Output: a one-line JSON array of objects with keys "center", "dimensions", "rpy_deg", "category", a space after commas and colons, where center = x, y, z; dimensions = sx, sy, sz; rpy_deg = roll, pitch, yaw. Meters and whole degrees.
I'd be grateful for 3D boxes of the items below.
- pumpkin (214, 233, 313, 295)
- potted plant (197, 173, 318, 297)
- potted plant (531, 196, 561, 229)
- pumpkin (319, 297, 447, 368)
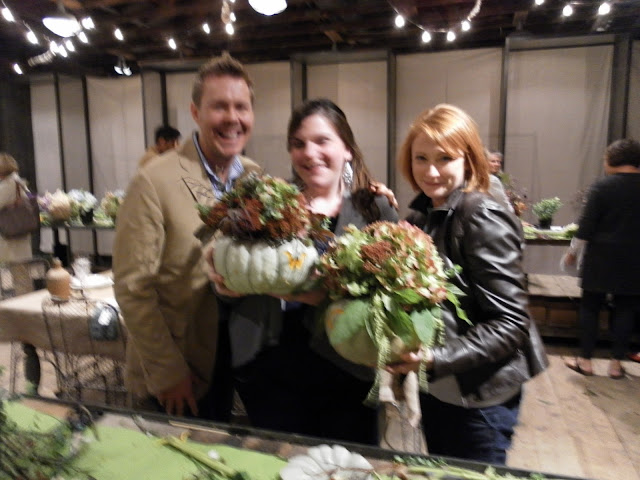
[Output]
[{"center": [-0.152, 0.087, 1.305], "dimensions": [0.180, 0.111, 0.186], "rpy_deg": [4, -5, -23], "category": "pumpkin"}, {"center": [-0.131, -0.001, 1.400], "dimensions": [0.322, 0.289, 0.301], "rpy_deg": [1, -8, 15], "category": "potted plant"}, {"center": [0.717, -0.087, 1.525], "dimensions": [0.050, 0.084, 0.091], "rpy_deg": [-15, 30, -12], "category": "potted plant"}, {"center": [0.153, 0.252, 1.328], "dimensions": [0.218, 0.144, 0.190], "rpy_deg": [28, 3, -43], "category": "pumpkin"}]
